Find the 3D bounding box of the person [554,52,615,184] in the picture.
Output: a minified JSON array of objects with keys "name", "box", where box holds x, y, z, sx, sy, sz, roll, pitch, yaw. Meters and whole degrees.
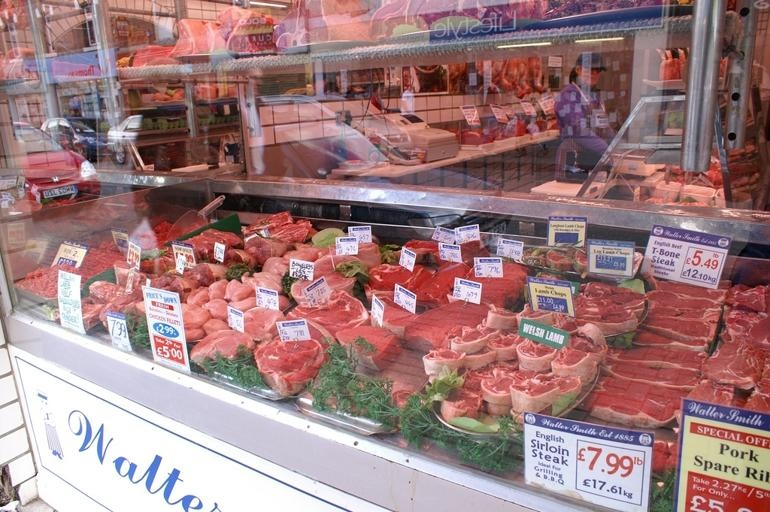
[{"name":"person","box":[1.266,-0.886,3.190,0.347,0.737,0.624,3,20,17]}]
